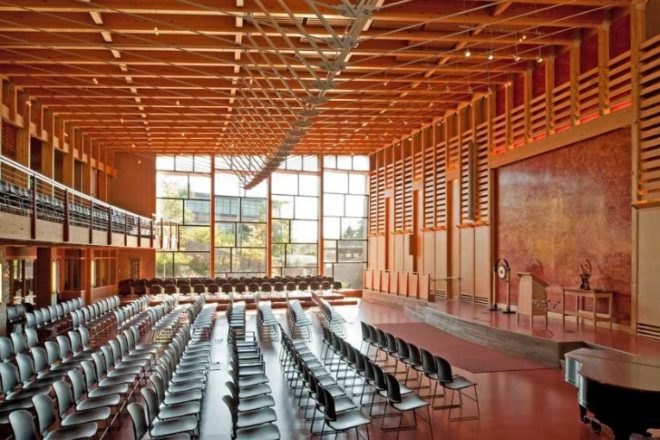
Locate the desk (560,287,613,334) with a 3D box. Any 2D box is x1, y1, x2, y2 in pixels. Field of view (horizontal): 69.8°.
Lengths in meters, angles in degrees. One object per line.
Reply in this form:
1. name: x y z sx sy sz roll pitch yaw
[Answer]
1. desk: 6.850 2.383 12.410 0.505 0.882 1.117 4 -7 -14
